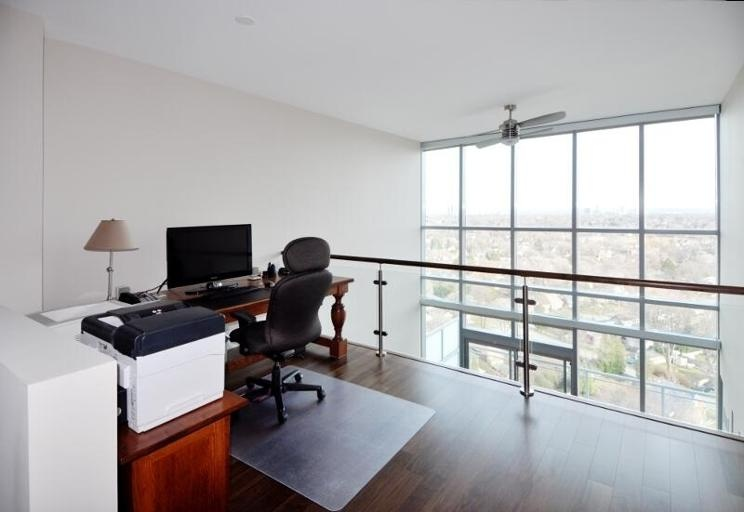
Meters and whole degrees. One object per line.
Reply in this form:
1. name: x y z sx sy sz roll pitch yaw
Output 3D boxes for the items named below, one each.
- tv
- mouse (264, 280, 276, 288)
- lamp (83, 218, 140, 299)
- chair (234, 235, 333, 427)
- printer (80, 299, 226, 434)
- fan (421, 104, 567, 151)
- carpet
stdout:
1. tv: -1.713 0.041 5.192 0.077 0.512 0.732 2 2 44
2. mouse: -1.118 0.305 5.456 0.117 0.034 0.122 -1 3 -22
3. lamp: -2.556 0.047 4.922 0.436 0.811 0.564 -3 7 -29
4. chair: -0.904 0.643 4.856 0.929 1.631 0.945 7 10 30
5. printer: -1.564 0.628 3.475 0.890 0.649 0.726 12 10 36
6. fan: 1.881 -1.721 6.751 1.103 0.290 1.047 -6 -2 -16
7. carpet: -0.453 1.632 4.384 1.662 0.408 1.157 2 6 18
